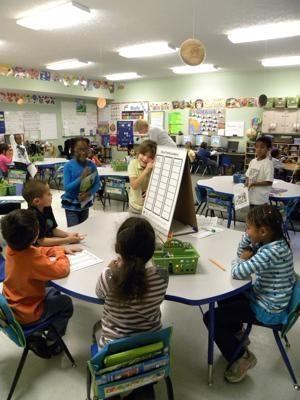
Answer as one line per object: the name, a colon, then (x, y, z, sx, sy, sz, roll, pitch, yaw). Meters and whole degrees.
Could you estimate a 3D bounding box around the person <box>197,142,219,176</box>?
person: (1.883, -1.352, 9.364, 0.817, 1.043, 0.714, -15, 27, -22)

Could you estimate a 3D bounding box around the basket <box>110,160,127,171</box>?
basket: (-0.601, -0.652, 5.414, 0.224, 0.133, 0.224, 5, 16, 17)

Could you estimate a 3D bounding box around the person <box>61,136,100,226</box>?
person: (-0.637, -0.052, 2.686, 0.363, 1.014, 0.397, -3, 17, -23)

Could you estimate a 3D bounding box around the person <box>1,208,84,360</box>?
person: (-0.552, 0.487, 1.514, 0.378, 0.962, 0.408, -4, 17, -9)

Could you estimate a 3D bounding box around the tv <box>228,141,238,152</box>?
tv: (2.679, -1.724, 9.325, 0.348, 0.334, 0.125, 14, 13, 40)

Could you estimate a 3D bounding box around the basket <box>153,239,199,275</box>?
basket: (0.122, 0.261, 1.372, 0.169, 0.071, 0.164, 1, 18, 9)

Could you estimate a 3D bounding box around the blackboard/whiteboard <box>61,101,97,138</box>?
blackboard/whiteboard: (-2.774, -3.177, 11.529, 0.032, 1.361, 2.128, 13, 18, 28)

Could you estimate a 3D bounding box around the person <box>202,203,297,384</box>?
person: (0.506, 0.490, 1.496, 0.427, 0.948, 0.380, 5, 18, 20)

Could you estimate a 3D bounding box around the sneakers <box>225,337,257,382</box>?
sneakers: (0.485, 0.864, 1.592, 0.226, 0.115, 0.097, -37, 2, -30)
